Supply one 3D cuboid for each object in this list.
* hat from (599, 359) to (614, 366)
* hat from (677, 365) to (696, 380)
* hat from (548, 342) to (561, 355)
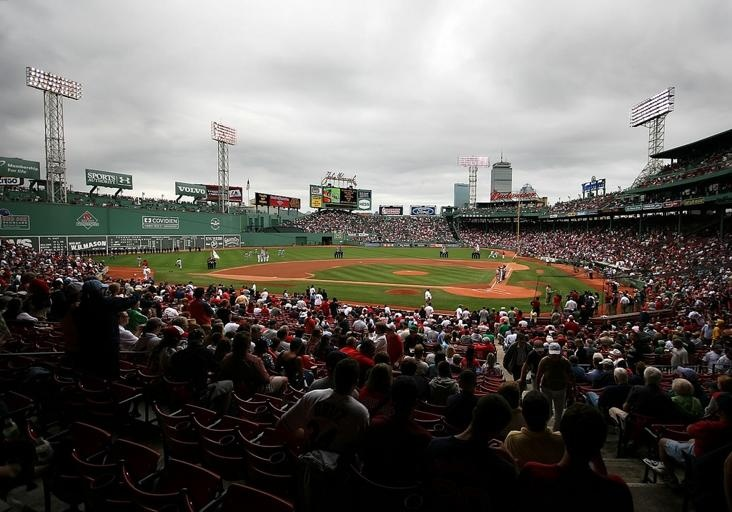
[{"bbox_3d":[5.895,2.622,13.258,0.280,0.138,0.200,11,11,41],"label":"hat"},{"bbox_3d":[7.622,2.778,12.845,0.312,0.205,0.408,0,22,2],"label":"hat"},{"bbox_3d":[4.211,2.074,12.098,0.300,0.224,0.471,2,1,27],"label":"hat"}]
